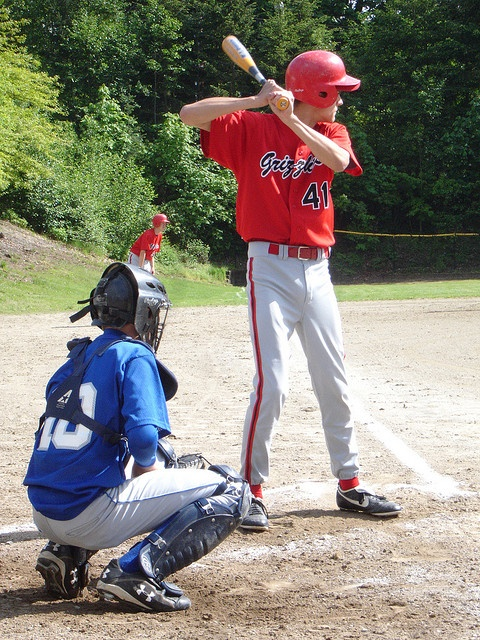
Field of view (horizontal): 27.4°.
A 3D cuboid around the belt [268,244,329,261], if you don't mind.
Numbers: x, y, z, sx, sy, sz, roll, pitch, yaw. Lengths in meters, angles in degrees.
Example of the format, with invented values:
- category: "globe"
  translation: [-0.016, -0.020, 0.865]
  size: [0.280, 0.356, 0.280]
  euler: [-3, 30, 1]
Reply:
- category: "belt"
  translation: [0.335, -0.359, 5.116]
  size: [0.131, 0.113, 0.408]
  euler: [6, 12, 42]

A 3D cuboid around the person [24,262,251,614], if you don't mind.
- category: "person"
  translation: [-0.476, 0.495, 4.246]
  size: [0.918, 1.461, 0.556]
  euler: [-4, 10, -2]

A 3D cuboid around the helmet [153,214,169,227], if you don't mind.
- category: "helmet"
  translation: [-1.131, -1.399, 13.770]
  size: [0.228, 0.102, 0.150]
  euler: [-5, 7, 9]

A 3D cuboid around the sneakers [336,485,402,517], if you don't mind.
- category: "sneakers"
  translation: [0.660, 0.956, 5.202]
  size: [0.401, 0.143, 0.124]
  euler: [5, 8, 15]

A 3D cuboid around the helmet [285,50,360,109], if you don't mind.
- category: "helmet"
  translation: [0.417, -1.280, 5.126]
  size: [0.460, 0.243, 0.302]
  euler: [4, 31, 7]

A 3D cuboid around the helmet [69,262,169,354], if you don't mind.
- category: "helmet"
  translation: [-0.507, -0.065, 4.425]
  size: [0.400, 0.340, 0.361]
  euler: [9, 3, 7]
